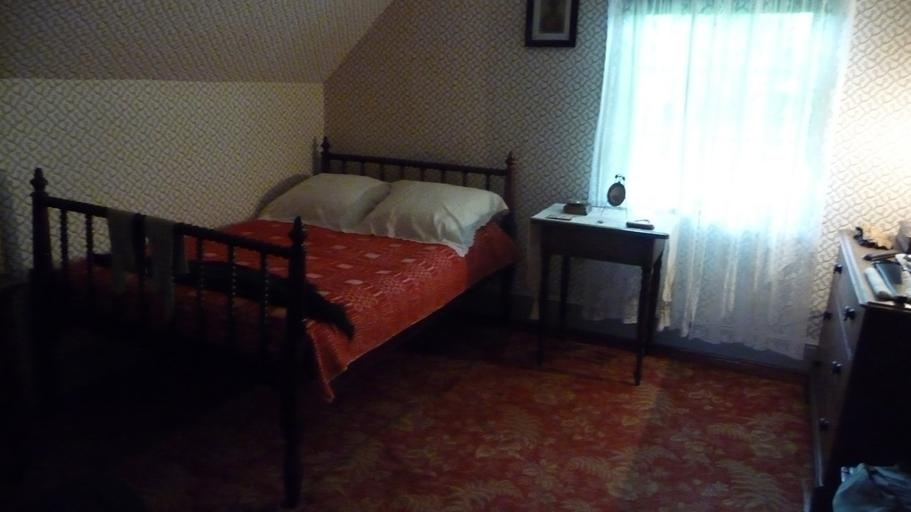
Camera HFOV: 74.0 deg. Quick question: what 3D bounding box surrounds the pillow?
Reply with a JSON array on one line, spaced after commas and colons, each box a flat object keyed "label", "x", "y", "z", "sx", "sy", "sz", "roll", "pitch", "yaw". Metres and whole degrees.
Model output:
[{"label": "pillow", "x": -0.667, "y": -0.398, "z": 4.922, "sx": 1.495, "sy": 0.230, "sz": 0.886, "roll": 10, "pitch": 27, "yaw": 18}]

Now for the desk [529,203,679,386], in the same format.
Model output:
[{"label": "desk", "x": 1.105, "y": 0.228, "z": 4.884, "sx": 1.031, "sy": 1.069, "sz": 0.784, "roll": 4, "pitch": 10, "yaw": 5}]

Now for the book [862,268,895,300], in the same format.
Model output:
[{"label": "book", "x": 2.393, "y": 0.148, "z": 3.430, "sx": 0.090, "sy": 0.054, "sz": 0.271, "roll": 0, "pitch": 30, "yaw": 18}]
